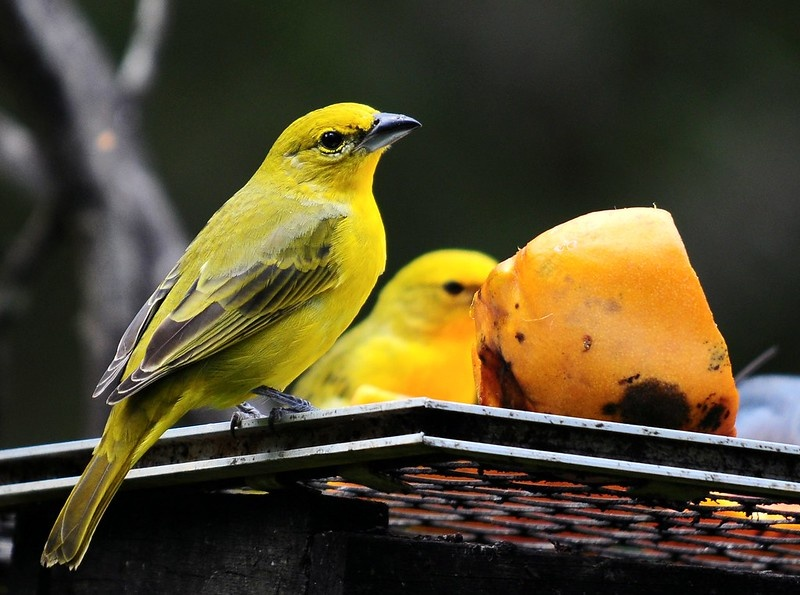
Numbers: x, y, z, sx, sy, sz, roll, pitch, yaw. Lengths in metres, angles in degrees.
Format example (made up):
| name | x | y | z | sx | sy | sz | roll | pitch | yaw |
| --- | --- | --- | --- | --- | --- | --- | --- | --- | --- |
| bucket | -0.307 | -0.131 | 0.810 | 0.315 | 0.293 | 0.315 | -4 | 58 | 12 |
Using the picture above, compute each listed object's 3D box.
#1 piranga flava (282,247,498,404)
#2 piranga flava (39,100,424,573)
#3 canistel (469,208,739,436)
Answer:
| name | x | y | z | sx | sy | sz | roll | pitch | yaw |
| --- | --- | --- | --- | --- | --- | --- | --- | --- | --- |
| piranga flava | 0.095 | 0.147 | 6.840 | 1.046 | 0.858 | 0.571 | 2 | -11 | 11 |
| piranga flava | -0.588 | 0.097 | 5.303 | 0.783 | 1.169 | 1.787 | 12 | 31 | 23 |
| canistel | 0.749 | 0.099 | 5.019 | 0.916 | 0.671 | 0.658 | 2 | -7 | 2 |
